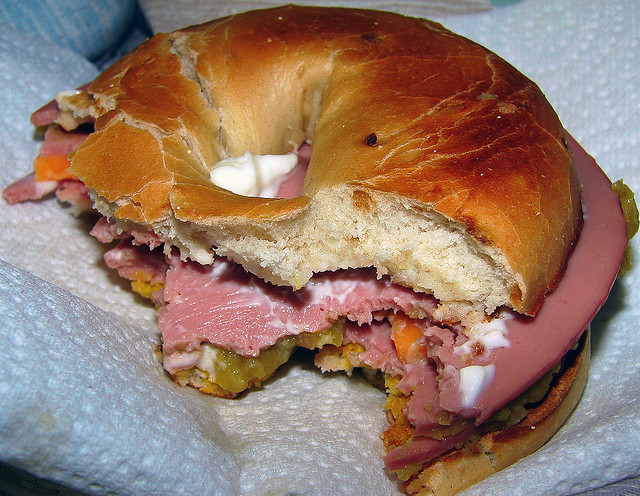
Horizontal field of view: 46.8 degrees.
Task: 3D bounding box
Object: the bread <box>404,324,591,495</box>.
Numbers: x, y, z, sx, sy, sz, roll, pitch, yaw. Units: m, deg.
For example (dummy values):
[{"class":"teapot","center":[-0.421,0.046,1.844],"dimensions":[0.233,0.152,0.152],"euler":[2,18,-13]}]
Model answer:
[{"class":"bread","center":[0.370,0.376,1.525],"dimensions":[0.357,0.094,0.289],"euler":[-32,34,-13]}]
